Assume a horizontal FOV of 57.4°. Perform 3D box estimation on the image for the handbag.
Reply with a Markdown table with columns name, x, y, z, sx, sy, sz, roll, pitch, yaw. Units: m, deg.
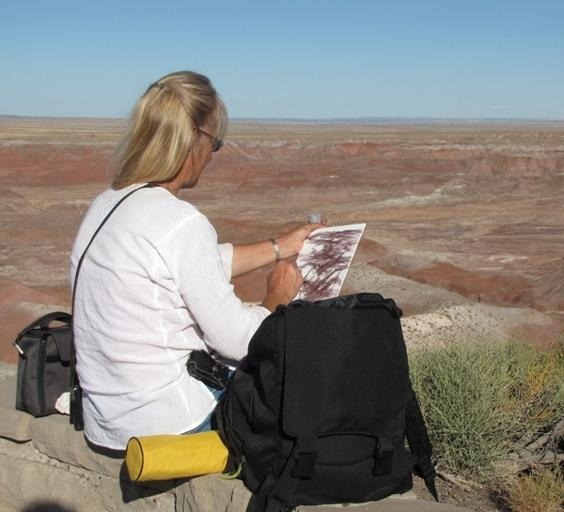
| name | x | y | z | sx | sy | sz | roll | pitch | yaw |
| --- | --- | --- | --- | --- | --- | --- | --- | --- | --- |
| handbag | -1.242 | 0.570 | 2.686 | 0.264 | 0.521 | 0.352 | 0 | 13 | -24 |

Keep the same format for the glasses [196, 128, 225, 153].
| name | x | y | z | sx | sy | sz | roll | pitch | yaw |
| --- | --- | --- | --- | --- | --- | --- | --- | --- | --- |
| glasses | -0.280 | -0.457 | 2.049 | 0.080 | 0.021 | 0.069 | 23 | -5 | -11 |
